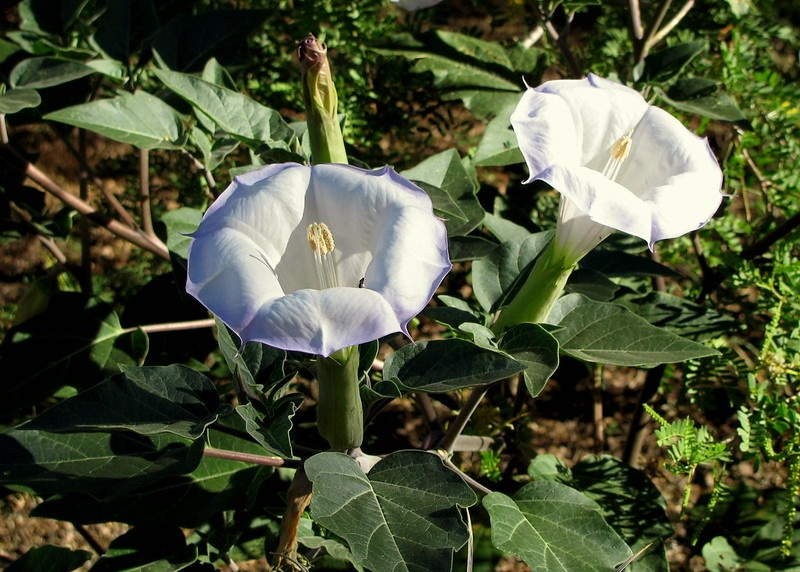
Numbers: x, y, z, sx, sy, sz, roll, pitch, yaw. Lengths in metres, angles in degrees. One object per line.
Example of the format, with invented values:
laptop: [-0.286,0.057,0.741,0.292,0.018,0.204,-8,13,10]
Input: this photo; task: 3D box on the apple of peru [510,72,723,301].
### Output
apple of peru: [0.422,-0.222,1.727,0.392,0.298,0.412,27,42,3]
